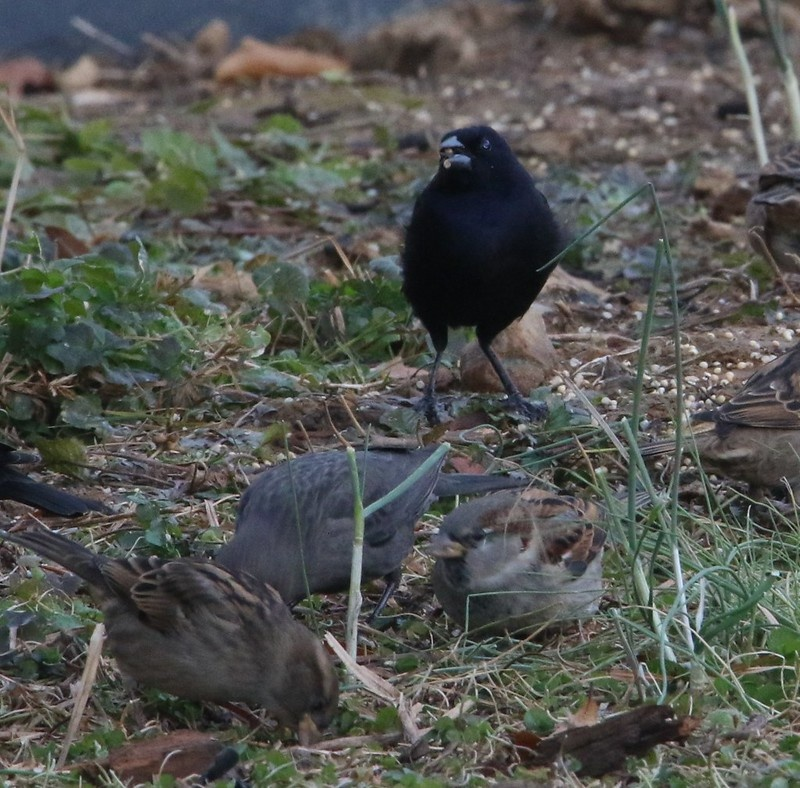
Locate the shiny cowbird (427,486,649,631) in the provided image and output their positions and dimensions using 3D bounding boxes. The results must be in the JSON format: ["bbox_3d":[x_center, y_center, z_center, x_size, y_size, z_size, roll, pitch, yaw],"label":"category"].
[{"bbox_3d":[0.443,0.458,3.532,0.647,0.322,0.373,-37,35,-27],"label":"shiny cowbird"}]

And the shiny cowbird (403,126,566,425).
[{"bbox_3d":[0.379,-0.535,4.944,0.771,1.277,0.544,-7,20,-2],"label":"shiny cowbird"}]

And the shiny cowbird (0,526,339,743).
[{"bbox_3d":[-0.635,0.620,3.180,1.063,0.326,0.289,27,23,10],"label":"shiny cowbird"}]
